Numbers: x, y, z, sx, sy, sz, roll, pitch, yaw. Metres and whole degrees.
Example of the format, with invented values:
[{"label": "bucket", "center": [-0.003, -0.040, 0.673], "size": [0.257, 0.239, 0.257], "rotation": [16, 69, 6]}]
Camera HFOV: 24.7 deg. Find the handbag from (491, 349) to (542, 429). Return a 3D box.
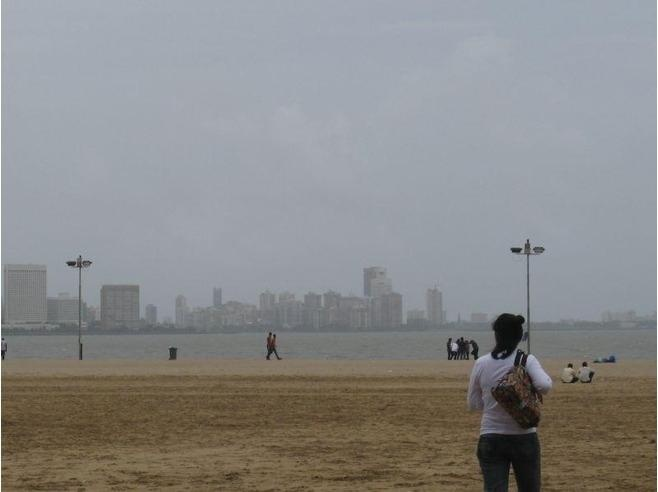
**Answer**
[{"label": "handbag", "center": [4.243, 3.336, 34.441], "size": [1.243, 1.377, 0.672], "rotation": [37, -32, -28]}]
